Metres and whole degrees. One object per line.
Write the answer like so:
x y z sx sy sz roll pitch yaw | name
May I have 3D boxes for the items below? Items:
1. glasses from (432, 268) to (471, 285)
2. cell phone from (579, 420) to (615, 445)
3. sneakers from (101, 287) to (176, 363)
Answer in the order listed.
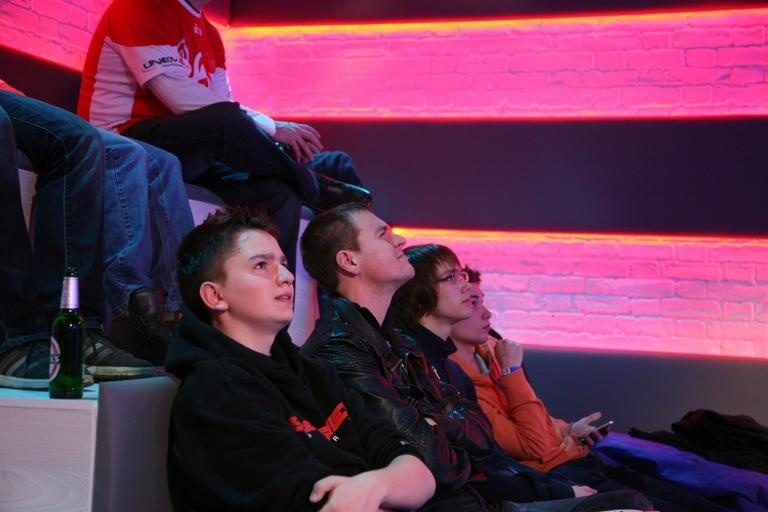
0.272 0.092 2.789 0.105 0.031 0.103 -14 -14 27 | glasses
1.077 0.913 3.232 0.250 0.060 0.138 -28 -17 12 | cell phone
-0.856 0.252 2.318 0.327 0.218 0.108 4 -13 35 | sneakers
